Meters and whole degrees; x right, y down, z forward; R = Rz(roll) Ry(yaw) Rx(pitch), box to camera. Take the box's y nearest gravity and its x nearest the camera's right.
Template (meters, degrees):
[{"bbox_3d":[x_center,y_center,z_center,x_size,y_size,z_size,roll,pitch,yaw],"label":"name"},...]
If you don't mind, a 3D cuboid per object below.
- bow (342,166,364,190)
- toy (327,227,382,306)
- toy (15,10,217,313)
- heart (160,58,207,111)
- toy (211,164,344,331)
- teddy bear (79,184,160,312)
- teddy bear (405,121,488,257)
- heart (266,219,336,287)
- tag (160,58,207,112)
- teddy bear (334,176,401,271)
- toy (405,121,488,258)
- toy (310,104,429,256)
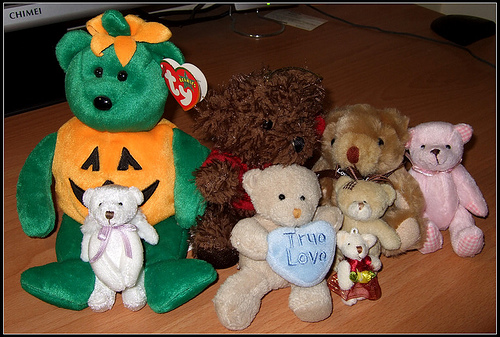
[{"bbox_3d":[0.200,0.021,0.860,0.039,0.044,0.023,-33,3,-23],"label":"bow"},{"bbox_3d":[0.201,0.190,0.843,0.116,0.142,0.081,-1,10,-18],"label":"toy"},{"bbox_3d":[-0.269,-0.011,0.845,0.469,0.534,0.329,1,19,4],"label":"toy"},{"bbox_3d":[-0.130,-0.155,0.832,0.016,0.104,0.129,-35,47,-30],"label":"heart"},{"bbox_3d":[0.072,0.150,0.893,0.380,0.334,0.274,-1,39,-8],"label":"toy"},{"bbox_3d":[-0.241,0.142,0.792,0.170,0.205,0.127,-4,19,-1],"label":"teddy bear"},{"bbox_3d":[0.400,0.042,0.910,0.191,0.253,0.199,-15,27,-7],"label":"teddy bear"},{"bbox_3d":[0.092,0.140,0.773,0.132,0.108,0.033,-13,4,-11],"label":"heart"},{"bbox_3d":[-0.128,-0.155,0.833,0.017,0.106,0.129,-35,44,-30],"label":"tag"},{"bbox_3d":[0.223,0.104,0.843,0.187,0.162,0.106,5,18,12],"label":"teddy bear"},{"bbox_3d":[0.398,0.044,0.905,0.189,0.250,0.194,-21,27,-16],"label":"toy"},{"bbox_3d":[0.231,0.017,0.903,0.289,0.248,0.217,8,23,28],"label":"toy"}]
